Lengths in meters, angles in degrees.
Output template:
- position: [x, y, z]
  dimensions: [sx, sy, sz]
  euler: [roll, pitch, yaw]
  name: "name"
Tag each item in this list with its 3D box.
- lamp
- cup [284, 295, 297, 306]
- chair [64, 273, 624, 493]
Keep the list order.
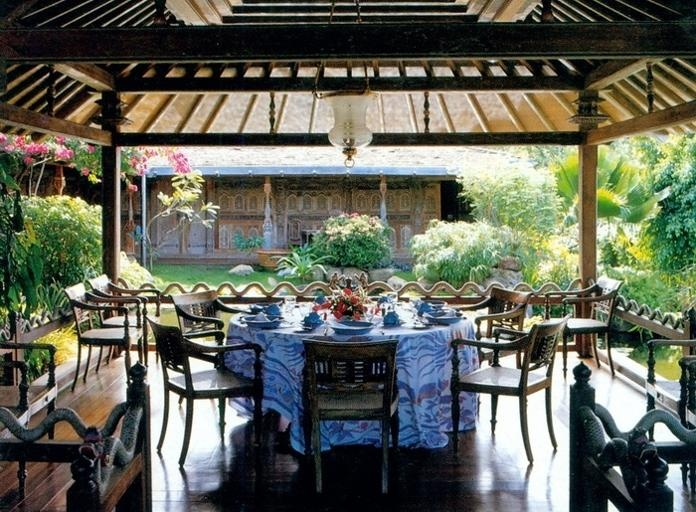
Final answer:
- position: [-0.023, -1.161, 5.343]
  dimensions: [0.482, 0.839, 0.495]
  euler: [0, 11, 1]
  name: "lamp"
- position: [-0.519, 0.427, 5.733]
  dimensions: [0.117, 0.121, 0.121]
  euler: [0, 5, 0]
  name: "cup"
- position: [0.210, 0.978, 5.202]
  dimensions: [2.952, 1.084, 1.484]
  euler: [-2, 11, -8]
  name: "chair"
